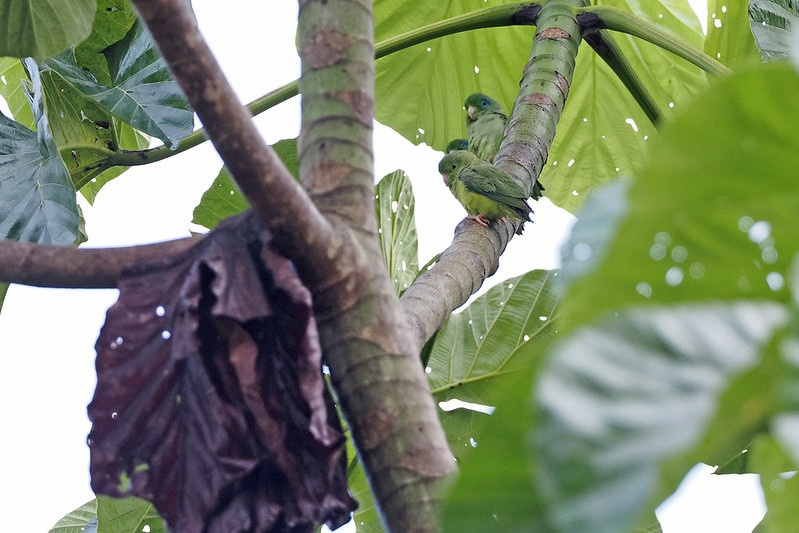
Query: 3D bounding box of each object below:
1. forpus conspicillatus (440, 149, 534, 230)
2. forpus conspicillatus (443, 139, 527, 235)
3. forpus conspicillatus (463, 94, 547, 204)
[{"bbox_3d":[0.324,-0.288,3.869,0.321,0.361,0.163,-14,-25,28],"label":"forpus conspicillatus"},{"bbox_3d":[0.320,-0.287,3.935,0.307,0.364,0.191,-6,-32,10],"label":"forpus conspicillatus"},{"bbox_3d":[0.378,-0.587,4.571,0.476,0.537,0.281,3,-46,3],"label":"forpus conspicillatus"}]
